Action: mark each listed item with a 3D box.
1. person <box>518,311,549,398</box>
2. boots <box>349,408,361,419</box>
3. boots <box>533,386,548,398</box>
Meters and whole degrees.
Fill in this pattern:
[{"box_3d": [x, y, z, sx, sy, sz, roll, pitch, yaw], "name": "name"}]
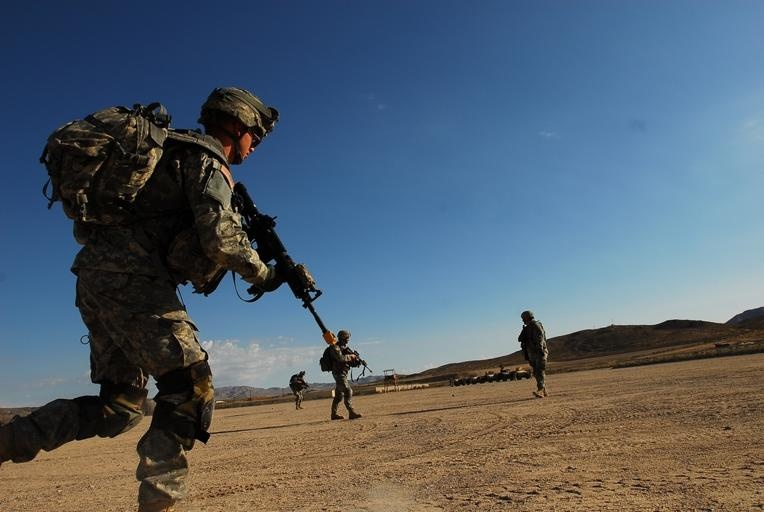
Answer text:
[{"box_3d": [3.719, 2.335, 13.090, 0.593, 2.036, 1.378, -15, -14, 12], "name": "person"}, {"box_3d": [-0.620, 3.567, 12.312, 0.296, 0.220, 0.853, -9, -12, -5], "name": "boots"}, {"box_3d": [3.698, 3.237, 12.770, 0.469, 0.293, 0.170, 21, -29, -38], "name": "boots"}]
